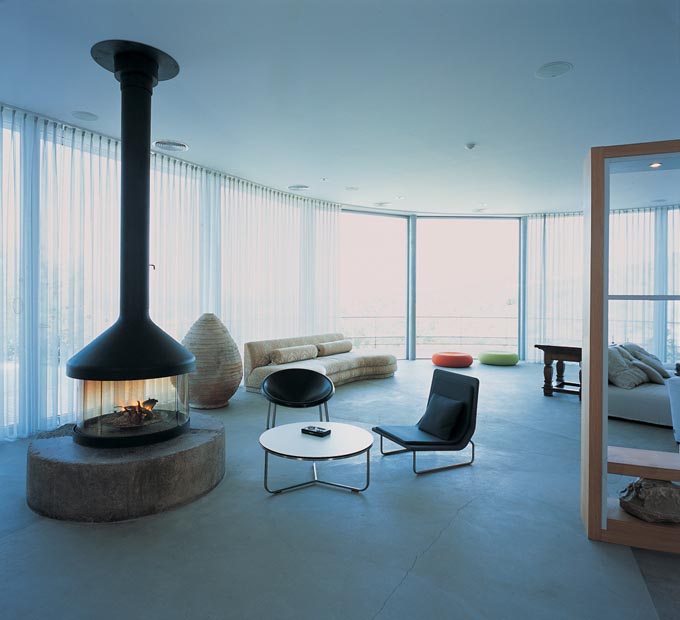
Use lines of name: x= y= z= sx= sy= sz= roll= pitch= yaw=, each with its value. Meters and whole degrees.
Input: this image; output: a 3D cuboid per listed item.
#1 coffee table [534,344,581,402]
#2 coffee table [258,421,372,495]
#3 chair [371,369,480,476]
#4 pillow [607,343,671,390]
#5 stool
coffee table: x=2.753 y=0.743 z=7.580 sx=0.806 sy=0.527 sz=0.824 roll=0 pitch=-1 yaw=27
coffee table: x=-0.177 y=1.129 z=4.564 sx=0.873 sy=0.299 sz=0.829 roll=4 pitch=6 yaw=30
chair: x=0.679 y=0.928 z=4.999 sx=0.720 sy=0.646 sz=0.767 roll=-6 pitch=3 yaw=-17
pillow: x=3.182 y=0.620 z=6.491 sx=0.960 sy=0.329 sz=0.685 roll=-3 pitch=2 yaw=-40
stool: x=-0.403 y=0.828 z=5.705 sx=0.764 sy=0.467 sz=0.683 roll=1 pitch=-9 yaw=-6
